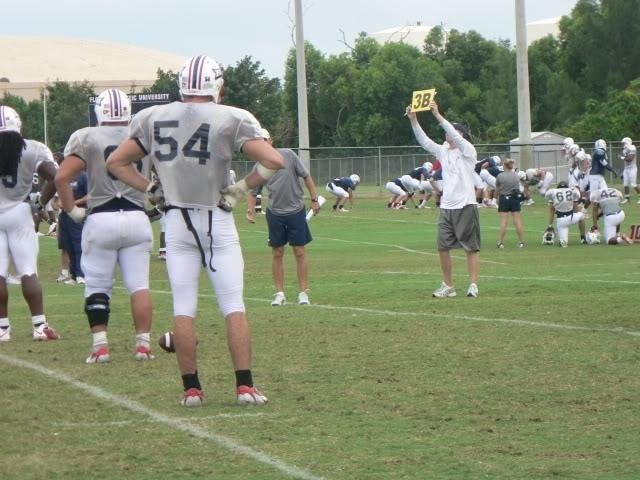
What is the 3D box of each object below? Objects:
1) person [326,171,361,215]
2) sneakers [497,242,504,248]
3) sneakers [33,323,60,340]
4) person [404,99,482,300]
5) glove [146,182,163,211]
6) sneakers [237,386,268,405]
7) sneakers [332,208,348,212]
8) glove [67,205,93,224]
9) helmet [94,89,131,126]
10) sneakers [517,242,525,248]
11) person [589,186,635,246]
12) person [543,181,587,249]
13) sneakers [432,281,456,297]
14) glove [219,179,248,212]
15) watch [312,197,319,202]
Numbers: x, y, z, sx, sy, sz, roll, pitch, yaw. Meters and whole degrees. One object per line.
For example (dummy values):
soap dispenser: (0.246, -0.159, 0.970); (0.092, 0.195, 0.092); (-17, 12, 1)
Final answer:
person: (0.962, -1.485, 33.144); (1.650, 1.476, 0.993); (-3, 8, -19)
sneakers: (3.490, 0.105, 20.255); (0.071, 0.067, 0.173); (1, 6, 3)
sneakers: (-3.065, 1.025, 11.643); (0.132, 0.135, 0.358); (1, 2, 25)
person: (1.669, -0.484, 13.801); (0.888, 2.561, 0.937); (-2, 11, -3)
glove: (-1.482, -0.386, 9.337); (0.147, 0.226, 0.187); (-8, 0, 33)
sneakers: (-0.618, 1.375, 9.241); (0.136, 0.108, 0.275); (-1, -3, 43)
sneakers: (0.625, -0.909, 32.277); (0.153, 0.163, 0.428); (4, -8, -37)
glove: (-2.409, -0.250, 10.428); (0.160, 0.130, 0.179); (-4, -1, -5)
helmet: (-2.196, -1.385, 10.905); (0.362, 0.310, 0.412); (-4, 18, -12)
sneakers: (3.891, 0.106, 20.282); (0.084, 0.104, 0.114); (-7, -12, 10)
person: (5.708, -0.362, 20.416); (0.750, 0.838, 1.536); (-3, 32, -1)
person: (4.990, -0.528, 21.285); (0.864, 1.338, 2.789); (1, 10, 12)
sneakers: (1.691, 0.679, 13.853); (0.384, 0.156, 0.143); (1, -1, -27)
glove: (-0.775, -0.401, 9.249); (0.203, 0.301, 0.120); (39, 11, -14)
watch: (-0.085, -0.545, 14.302); (0.069, 0.035, 0.056); (-3, 2, 29)
